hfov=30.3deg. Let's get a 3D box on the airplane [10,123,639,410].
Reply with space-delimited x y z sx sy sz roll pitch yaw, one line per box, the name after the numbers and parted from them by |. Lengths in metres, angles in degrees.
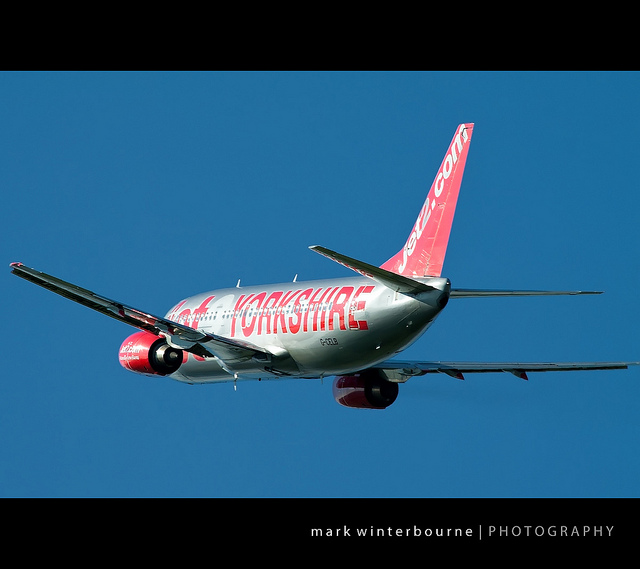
0.042 0.016 26.278 10.705 7.248 7.984 0 9 -10 | airplane
